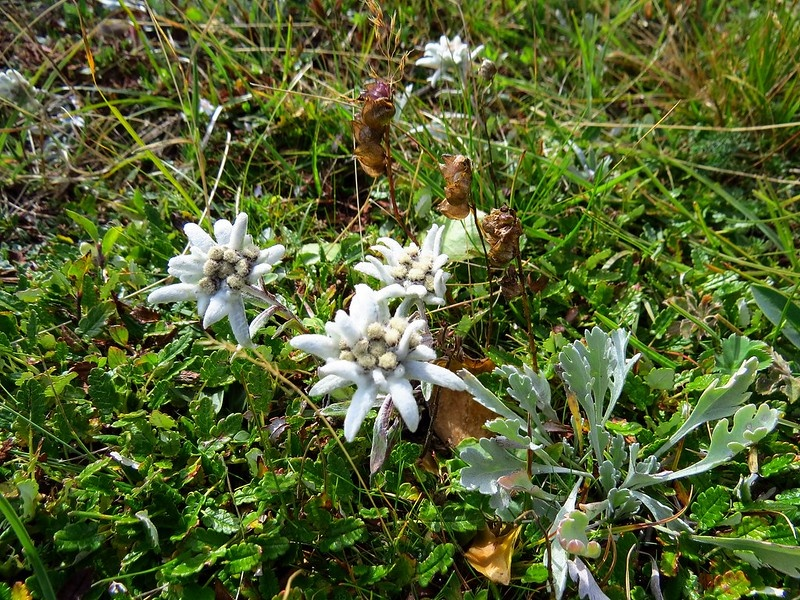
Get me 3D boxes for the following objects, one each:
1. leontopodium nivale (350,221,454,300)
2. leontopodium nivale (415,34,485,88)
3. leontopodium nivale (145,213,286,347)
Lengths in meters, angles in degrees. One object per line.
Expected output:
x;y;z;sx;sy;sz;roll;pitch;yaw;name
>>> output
0.011;-0.179;3.549;0.454;0.181;0.441;-4;59;3;leontopodium nivale
0.328;-1.438;4.537;0.373;0.395;0.195;-22;103;7;leontopodium nivale
-0.846;-0.139;3.396;0.593;0.235;0.663;-20;79;-21;leontopodium nivale
